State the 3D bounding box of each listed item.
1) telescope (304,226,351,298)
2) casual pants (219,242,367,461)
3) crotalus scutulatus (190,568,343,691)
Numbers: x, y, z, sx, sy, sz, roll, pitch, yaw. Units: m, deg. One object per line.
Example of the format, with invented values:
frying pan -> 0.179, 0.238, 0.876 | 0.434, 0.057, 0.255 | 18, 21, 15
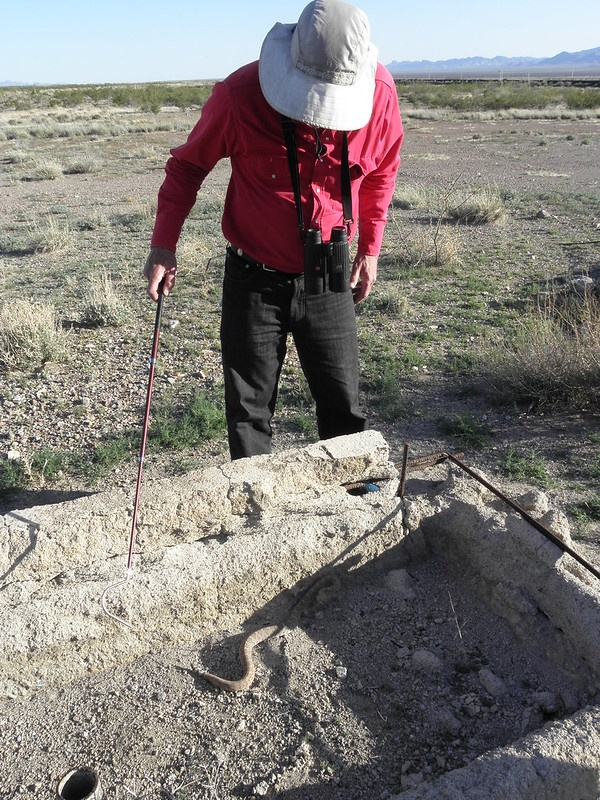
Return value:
telescope -> 0.109, -0.595, 3.072 | 0.216, 0.259, 0.102 | -4, 24, -5
casual pants -> -0.016, -0.242, 3.504 | 0.700, 1.268, 0.374 | -5, 40, -4
crotalus scutulatus -> -0.112, 0.991, 3.037 | 0.249, 0.091, 0.849 | 22, 43, 32
